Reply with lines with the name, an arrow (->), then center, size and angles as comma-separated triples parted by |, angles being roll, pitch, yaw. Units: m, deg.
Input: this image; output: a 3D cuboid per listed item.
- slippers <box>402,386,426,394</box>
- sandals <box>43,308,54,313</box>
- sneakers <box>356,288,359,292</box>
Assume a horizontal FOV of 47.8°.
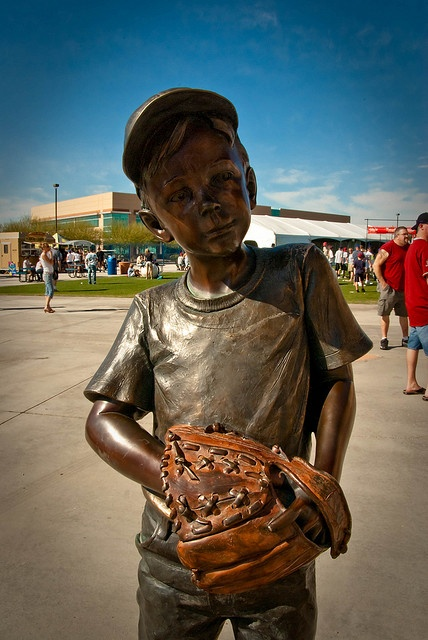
slippers -> 2.173, 0.765, 5.224 | 0.248, 0.062, 0.088 | -1, 3, -18
sandals -> -4.113, -0.244, 12.154 | 0.337, 0.125, 0.116 | -5, 13, -32
sneakers -> 5.315, -1.099, 17.746 | 0.077, 0.169, 0.166 | -9, 5, -9
